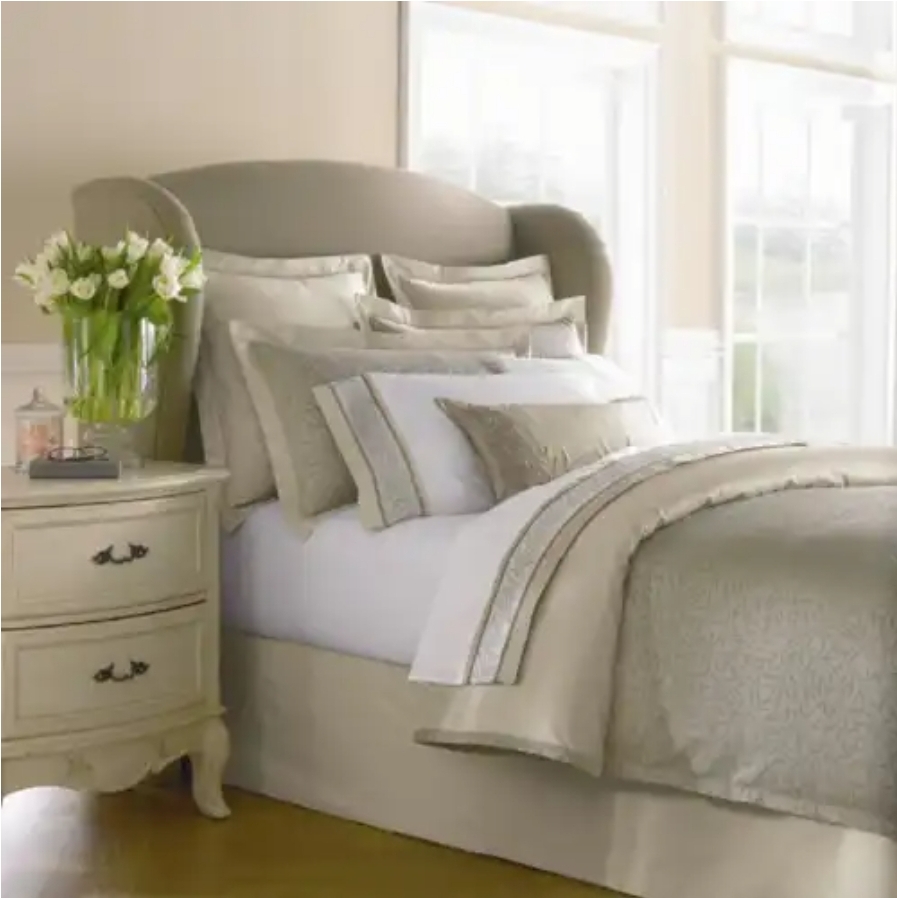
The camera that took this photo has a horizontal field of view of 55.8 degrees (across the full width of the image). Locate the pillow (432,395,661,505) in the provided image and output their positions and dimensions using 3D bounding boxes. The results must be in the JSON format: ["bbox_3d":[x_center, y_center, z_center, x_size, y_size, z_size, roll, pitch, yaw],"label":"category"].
[{"bbox_3d":[0.316,0.027,1.980,0.665,0.275,0.127,-8,-11,-37],"label":"pillow"}]

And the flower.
[{"bbox_3d":[-0.750,-0.250,1.984,0.387,0.427,0.405,1,1,-13],"label":"flower"}]

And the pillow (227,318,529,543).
[{"bbox_3d":[-0.182,-0.025,1.921,0.462,0.338,0.090,-12,-8,-28],"label":"pillow"}]

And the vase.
[{"bbox_3d":[-0.771,-0.136,1.921,0.203,0.361,0.211,5,12,-7],"label":"vase"}]
